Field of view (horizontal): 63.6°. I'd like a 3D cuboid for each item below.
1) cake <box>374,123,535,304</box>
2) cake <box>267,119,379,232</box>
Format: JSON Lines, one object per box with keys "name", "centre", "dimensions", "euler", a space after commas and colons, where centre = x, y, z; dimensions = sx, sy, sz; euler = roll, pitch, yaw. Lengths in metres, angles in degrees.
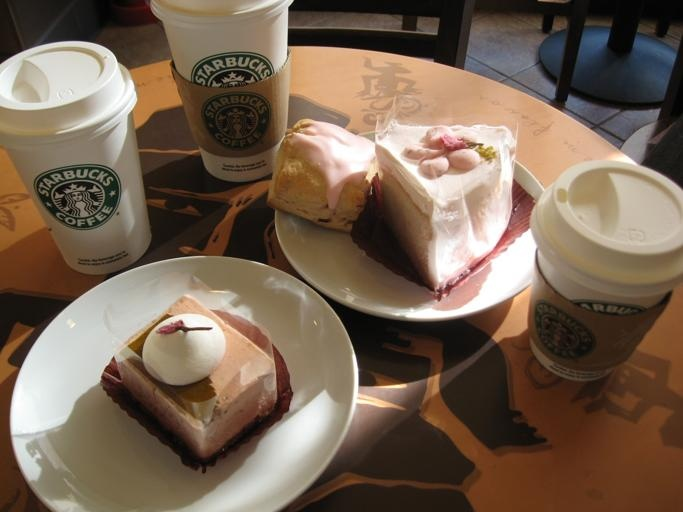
{"name": "cake", "centre": [0.212, -0.100, 1.146], "dimensions": [0.297, 0.222, 0.274], "euler": [-27, 65, -37]}
{"name": "cake", "centre": [-0.052, -0.159, 1.179], "dimensions": [0.203, 0.104, 0.225], "euler": [17, 75, -9]}
